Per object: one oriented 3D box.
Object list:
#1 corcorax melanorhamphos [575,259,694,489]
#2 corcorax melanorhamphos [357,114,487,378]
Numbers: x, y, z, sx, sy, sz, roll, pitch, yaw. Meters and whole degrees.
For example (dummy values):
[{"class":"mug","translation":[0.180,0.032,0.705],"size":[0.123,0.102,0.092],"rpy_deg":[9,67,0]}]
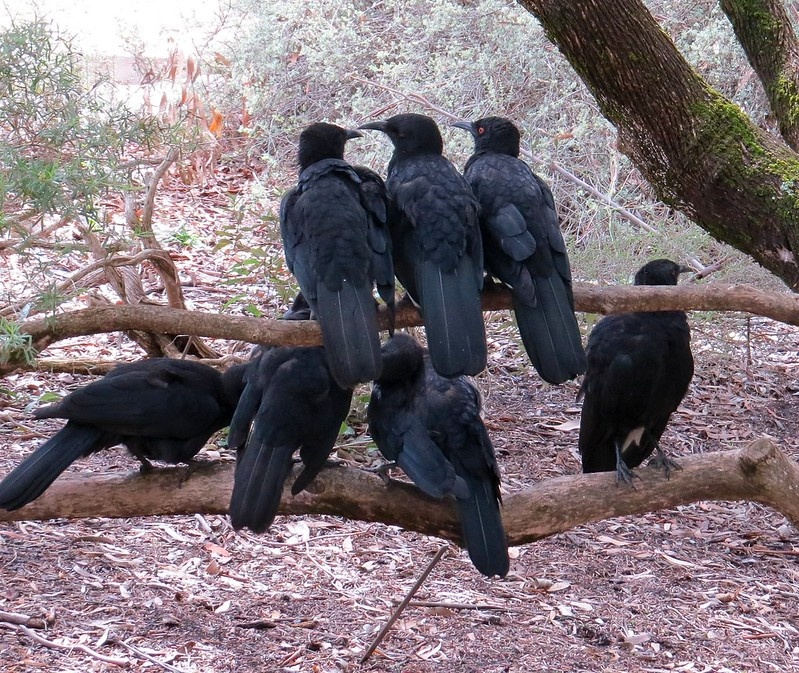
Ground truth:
[{"class":"corcorax melanorhamphos","translation":[1.091,0.264,4.480],"size":[0.362,0.836,0.497],"rpy_deg":[-17,15,-28]},{"class":"corcorax melanorhamphos","translation":[-0.140,-0.432,3.713],"size":[0.561,0.626,1.097],"rpy_deg":[-5,47,-6]}]
